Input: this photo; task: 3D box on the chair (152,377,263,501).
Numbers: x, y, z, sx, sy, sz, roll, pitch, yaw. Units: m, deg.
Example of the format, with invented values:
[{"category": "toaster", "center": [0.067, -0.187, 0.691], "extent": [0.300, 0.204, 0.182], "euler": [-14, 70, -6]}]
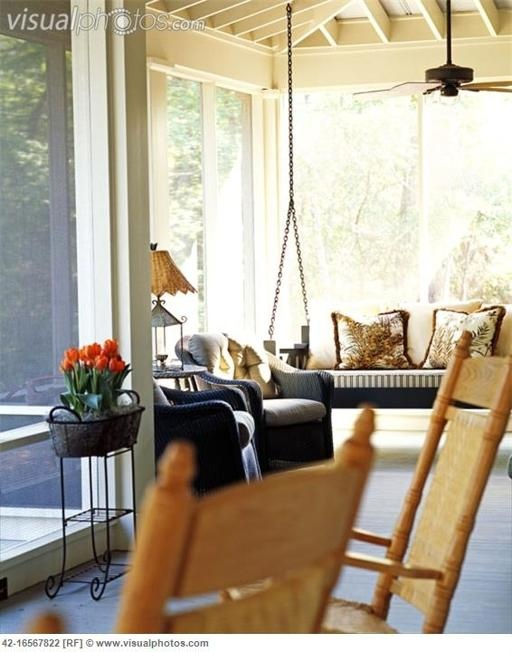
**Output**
[{"category": "chair", "center": [-0.228, 0.505, 3.134], "extent": [0.574, 0.560, 0.498], "euler": [-1, 0, -3]}]

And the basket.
[{"category": "basket", "center": [-0.583, 0.367, 2.537], "extent": [0.255, 0.177, 0.386], "euler": [4, 6, 38]}]

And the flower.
[{"category": "flower", "center": [-0.557, 0.191, 2.514], "extent": [0.294, 0.257, 0.241], "euler": [-8, 2, -12]}]

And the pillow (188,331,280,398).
[{"category": "pillow", "center": [-0.138, 0.223, 4.233], "extent": [0.155, 0.418, 0.468], "euler": [-35, -31, 29]}]

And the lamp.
[{"category": "lamp", "center": [-0.493, -0.108, 3.937], "extent": [0.244, 0.829, 0.913], "euler": [2, 14, -8]}]
